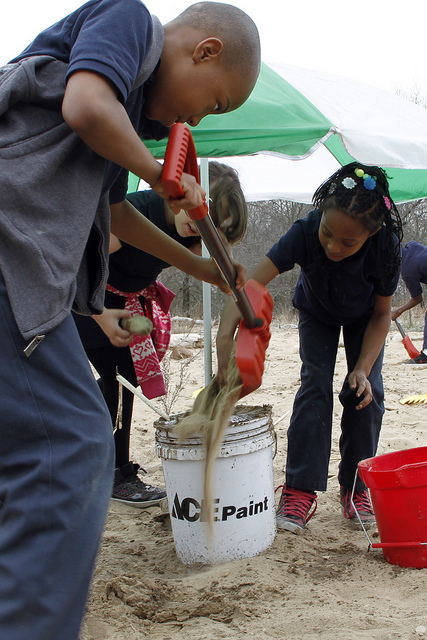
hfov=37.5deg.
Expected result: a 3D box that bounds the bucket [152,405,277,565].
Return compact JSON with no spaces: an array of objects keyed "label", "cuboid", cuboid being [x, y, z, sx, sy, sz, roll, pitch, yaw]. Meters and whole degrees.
[{"label":"bucket","cuboid":[0.048,0.657,2.576,0.592,0.567,0.622,-2,-11,0]}]

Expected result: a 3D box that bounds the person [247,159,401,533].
[{"label":"person","cuboid":[0.569,0.081,2.953,0.672,1.336,0.707,-4,1,13]}]

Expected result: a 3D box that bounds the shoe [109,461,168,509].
[{"label":"shoe","cuboid":[-0.426,0.877,3.329,0.415,0.211,0.142,-10,-15,30]}]

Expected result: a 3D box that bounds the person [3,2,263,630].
[{"label":"person","cuboid":[-0.134,-0.110,1.493,0.500,1.170,0.971,-4,1,4]}]

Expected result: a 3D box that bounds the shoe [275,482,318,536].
[{"label":"shoe","cuboid":[0.365,0.854,2.832,0.109,0.111,0.255,27,-5,7]}]

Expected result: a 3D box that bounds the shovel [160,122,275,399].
[{"label":"shovel","cuboid":[0.021,-0.168,1.814,0.148,0.323,0.870,-16,-39,12]}]

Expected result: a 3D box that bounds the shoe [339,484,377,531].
[{"label":"shoe","cuboid":[0.724,0.869,3.027,0.101,0.187,0.283,2,14,8]}]
